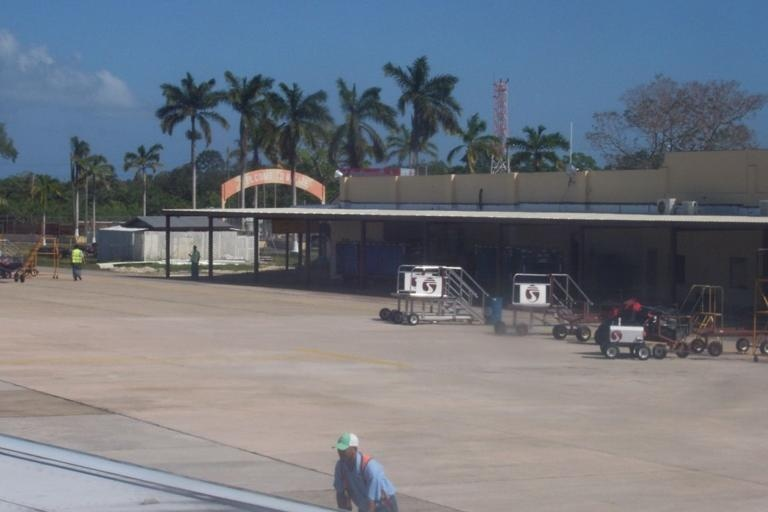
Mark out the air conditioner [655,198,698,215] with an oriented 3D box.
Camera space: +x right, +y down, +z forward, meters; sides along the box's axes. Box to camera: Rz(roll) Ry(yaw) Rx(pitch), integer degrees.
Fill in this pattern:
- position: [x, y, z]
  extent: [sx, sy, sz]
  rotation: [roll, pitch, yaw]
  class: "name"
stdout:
- position: [17.546, -2.847, 96.675]
  extent: [2.098, 0.876, 1.221]
  rotation: [1, 2, 26]
  class: "air conditioner"
